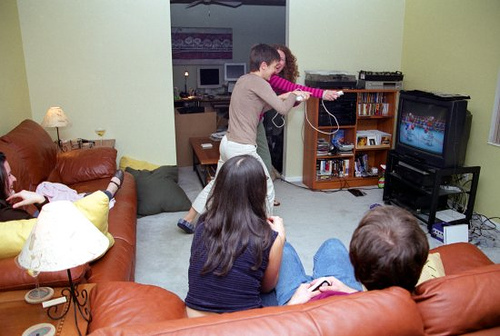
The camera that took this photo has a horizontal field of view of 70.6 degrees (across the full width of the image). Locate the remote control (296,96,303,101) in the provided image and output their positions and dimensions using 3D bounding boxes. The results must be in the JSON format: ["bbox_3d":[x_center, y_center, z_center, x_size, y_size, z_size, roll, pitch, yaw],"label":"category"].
[{"bbox_3d":[0.511,-0.720,3.655,0.039,0.047,0.126,10,18,37],"label":"remote control"}]

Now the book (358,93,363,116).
[{"bbox_3d":[1.539,-0.890,4.924,0.102,0.298,0.032,-11,17,-35],"label":"book"}]

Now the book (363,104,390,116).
[{"bbox_3d":[1.780,-0.824,4.973,0.385,0.156,0.070,-4,14,-15],"label":"book"}]

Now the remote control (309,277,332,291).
[{"bbox_3d":[0.370,0.616,1.872,0.076,0.018,0.078,-31,-8,-11],"label":"remote control"}]

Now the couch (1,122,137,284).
[{"bbox_3d":[-1.465,0.254,2.825,0.623,0.625,1.413,-1,22,-13],"label":"couch"}]

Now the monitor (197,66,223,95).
[{"bbox_3d":[-1.061,-2.301,9.132,0.700,0.795,0.246,-3,14,-14],"label":"monitor"}]

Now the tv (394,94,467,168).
[{"bbox_3d":[2.155,-0.473,4.102,0.518,0.749,0.804,-7,19,-13],"label":"tv"}]

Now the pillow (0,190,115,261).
[{"bbox_3d":[-1.369,0.382,2.474,0.568,0.224,0.588,-4,21,-2],"label":"pillow"}]

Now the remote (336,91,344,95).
[{"bbox_3d":[1.054,-0.882,4.166,0.067,0.046,0.226,2,14,11],"label":"remote"}]

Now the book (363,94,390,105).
[{"bbox_3d":[1.778,-0.968,4.977,0.295,0.172,0.293,2,-1,2],"label":"book"}]

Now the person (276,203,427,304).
[{"bbox_3d":[0.610,0.534,2.204,0.366,0.549,0.905,7,-35,-20],"label":"person"}]

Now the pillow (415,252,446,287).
[{"bbox_3d":[1.186,0.651,2.316,0.048,0.160,0.170,10,-19,-5],"label":"pillow"}]

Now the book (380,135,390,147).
[{"bbox_3d":[1.925,-0.397,5.052,0.160,0.163,0.087,-1,4,-9],"label":"book"}]

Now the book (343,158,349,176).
[{"bbox_3d":[1.368,-0.026,5.037,0.079,0.253,0.245,0,2,5],"label":"book"}]
